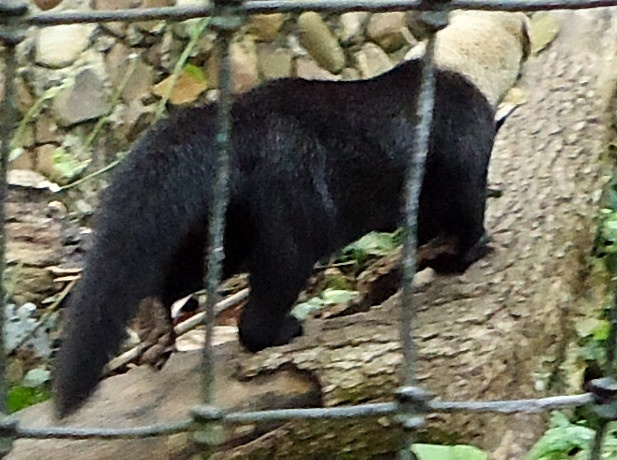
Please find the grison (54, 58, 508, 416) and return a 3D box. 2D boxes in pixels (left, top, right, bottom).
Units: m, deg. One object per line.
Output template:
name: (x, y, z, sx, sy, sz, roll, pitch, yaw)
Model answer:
grison: (0.046, -0.127, 3.828, 0.548, 0.778, 1.911, 18, 25, 36)
